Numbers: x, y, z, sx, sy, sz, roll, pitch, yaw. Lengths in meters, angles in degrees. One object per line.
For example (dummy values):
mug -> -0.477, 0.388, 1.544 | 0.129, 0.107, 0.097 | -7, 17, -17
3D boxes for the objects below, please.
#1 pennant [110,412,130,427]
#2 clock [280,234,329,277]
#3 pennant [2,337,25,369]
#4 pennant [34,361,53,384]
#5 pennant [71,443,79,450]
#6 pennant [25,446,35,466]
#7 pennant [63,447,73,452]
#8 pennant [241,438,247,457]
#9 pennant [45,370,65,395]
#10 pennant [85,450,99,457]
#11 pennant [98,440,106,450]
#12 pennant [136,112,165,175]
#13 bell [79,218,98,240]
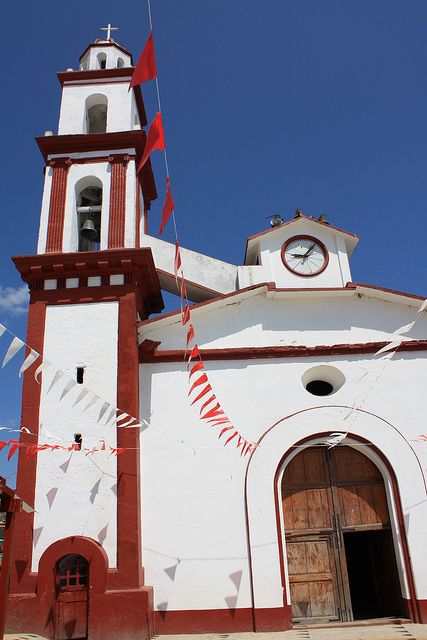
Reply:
pennant -> -1.709, 1.803, 11.427 | 0.294, 0.265, 0.593 | 0, -32, -12
clock -> 2.172, -1.495, 14.701 | 1.154, 1.092, 0.157 | 4, -34, -3
pennant -> -2.829, 0.425, 8.747 | 0.191, 0.317, 0.344 | 17, -39, -33
pennant -> -3.165, 0.987, 11.517 | 0.131, 0.483, 0.501 | 14, -12, -11
pennant -> -2.556, 2.329, 11.392 | 0.092, 0.118, 0.031 | -3, -3, 3
pennant -> -3.387, 2.475, 11.340 | 0.108, 0.299, 0.207 | 13, -37, -29
pennant -> -2.689, 2.384, 11.429 | 0.095, 0.027, 0.095 | 7, -48, -16
pennant -> 0.589, 2.492, 12.033 | 0.053, 0.402, 0.053 | 15, -11, 44
pennant -> -2.989, 1.191, 11.657 | 0.203, 0.094, 0.677 | 29, -71, -30
pennant -> -2.256, 2.436, 11.404 | 0.226, 0.070, 0.035 | -6, -32, -2
pennant -> -2.066, 2.308, 11.458 | 0.081, 0.175, 0.038 | -2, -32, -8
pennant -> -0.977, -2.856, 9.897 | 0.375, 0.072, 1.327 | -10, -22, -13
bell -> -2.830, -2.098, 13.945 | 0.408, 0.531, 0.445 | 0, -32, -11
